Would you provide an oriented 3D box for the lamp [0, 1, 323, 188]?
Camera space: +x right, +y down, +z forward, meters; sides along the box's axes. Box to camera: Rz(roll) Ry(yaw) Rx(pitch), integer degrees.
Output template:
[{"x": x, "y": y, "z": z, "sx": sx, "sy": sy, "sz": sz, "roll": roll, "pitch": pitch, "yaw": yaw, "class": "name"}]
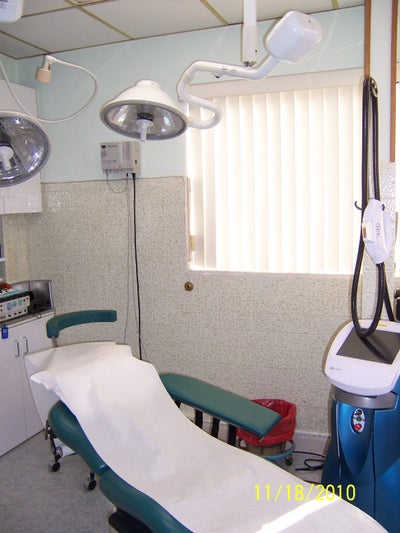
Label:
[{"x": -0.097, "y": -0.460, "z": 1.409, "sx": 1.000, "sy": 0.597, "sz": 0.401, "roll": 12, "pitch": 19, "yaw": 33, "class": "lamp"}]
